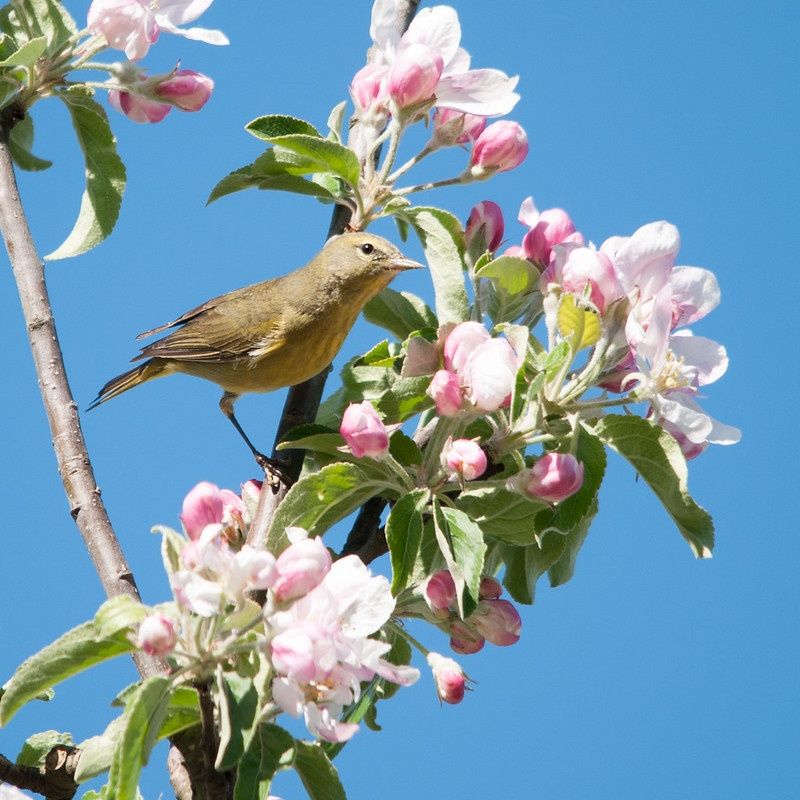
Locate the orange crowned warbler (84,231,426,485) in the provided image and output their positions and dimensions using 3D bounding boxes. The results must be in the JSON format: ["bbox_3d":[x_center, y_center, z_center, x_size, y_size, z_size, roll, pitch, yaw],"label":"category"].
[{"bbox_3d":[-0.618,-0.246,5.720,1.184,0.480,1.009,10,-73,14],"label":"orange crowned warbler"}]
